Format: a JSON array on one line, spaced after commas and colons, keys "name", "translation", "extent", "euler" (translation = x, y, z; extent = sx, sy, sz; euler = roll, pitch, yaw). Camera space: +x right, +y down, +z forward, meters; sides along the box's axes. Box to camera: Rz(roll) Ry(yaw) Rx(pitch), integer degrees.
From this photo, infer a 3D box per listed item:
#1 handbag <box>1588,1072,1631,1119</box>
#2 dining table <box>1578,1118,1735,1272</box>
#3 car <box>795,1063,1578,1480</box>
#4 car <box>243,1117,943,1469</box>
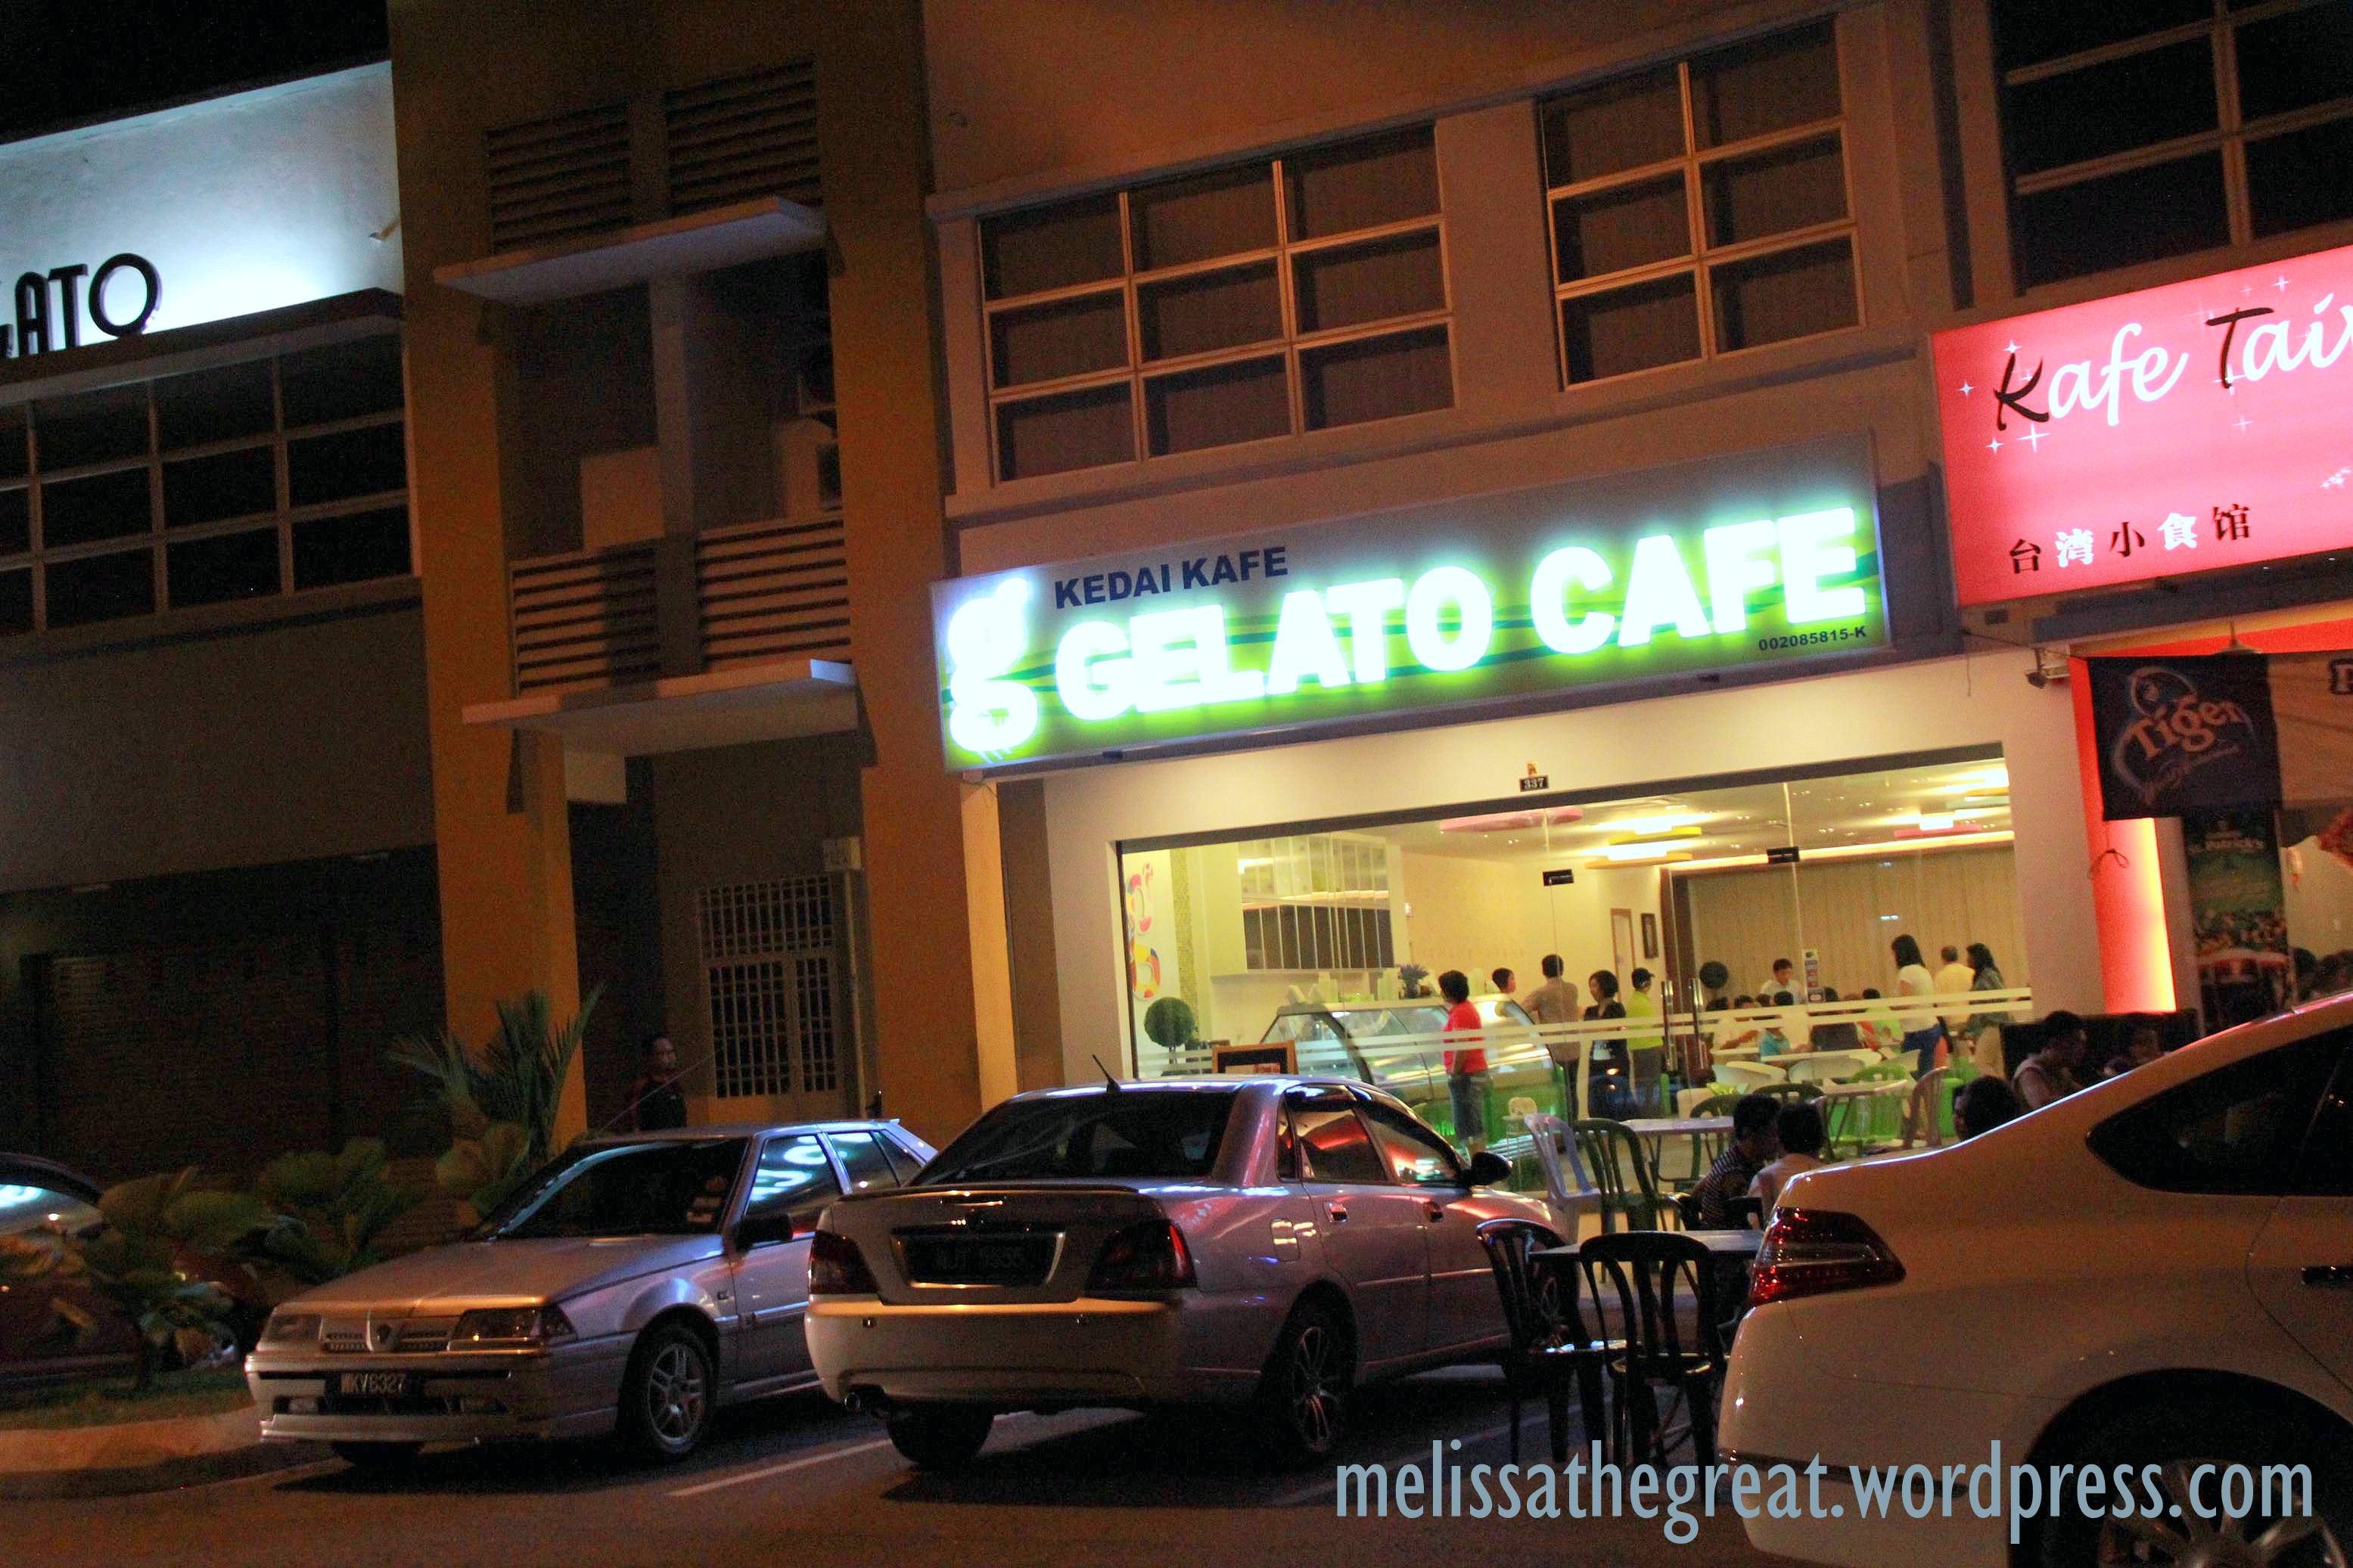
[{"name": "handbag", "translation": [3.750, 2.693, 17.924], "extent": [0.360, 0.326, 0.358], "euler": [4, -6, -16]}, {"name": "dining table", "translation": [3.927, 3.424, 16.979], "extent": [0.805, 1.245, 0.979], "euler": [3, -5, -23]}, {"name": "car", "translation": [0.024, 2.774, 11.633], "extent": [3.728, 2.061, 1.818], "euler": [-15, 9, -31]}, {"name": "car", "translation": [-3.188, 3.059, 13.360], "extent": [2.117, 1.186, 3.789], "euler": [-8, -11, 27]}]
